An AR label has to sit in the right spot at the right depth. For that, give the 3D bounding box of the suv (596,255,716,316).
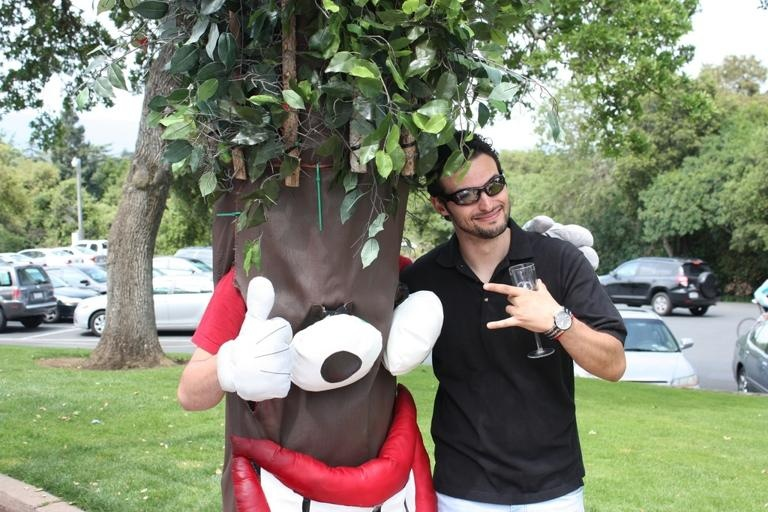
[{"bbox_3d":[8.123,0.911,18.911,1.812,1.368,3.631,-2,6,-31],"label":"suv"}]
